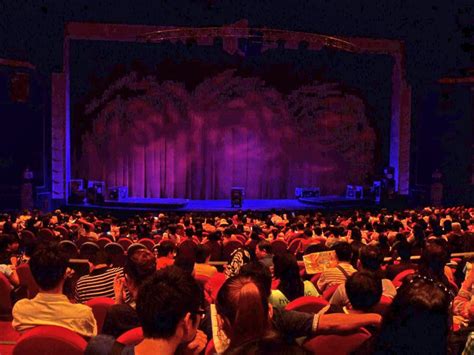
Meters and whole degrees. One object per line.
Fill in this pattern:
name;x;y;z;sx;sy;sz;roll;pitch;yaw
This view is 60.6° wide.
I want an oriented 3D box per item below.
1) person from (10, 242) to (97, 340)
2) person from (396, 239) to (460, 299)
person;-1.757;1.058;3.862;0.800;0.876;0.450;4;9;0
person;2.321;1.142;4.860;0.678;1.038;0.486;6;42;23
